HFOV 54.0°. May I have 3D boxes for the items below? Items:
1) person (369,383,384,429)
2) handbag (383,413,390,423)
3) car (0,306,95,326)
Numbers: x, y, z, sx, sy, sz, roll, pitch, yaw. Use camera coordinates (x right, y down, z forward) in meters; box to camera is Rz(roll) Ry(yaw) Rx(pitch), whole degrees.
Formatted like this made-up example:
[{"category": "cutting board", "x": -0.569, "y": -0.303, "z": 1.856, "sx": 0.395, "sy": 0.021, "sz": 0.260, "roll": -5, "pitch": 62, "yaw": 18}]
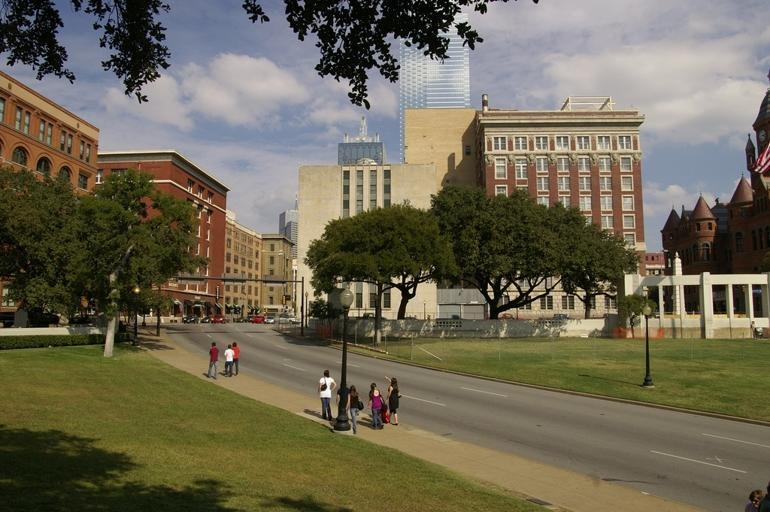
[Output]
[{"category": "person", "x": -0.523, "y": 9.528, "z": 48.355, "sx": 0.853, "sy": 2.887, "sz": 0.800, "roll": 3, "pitch": 9, "yaw": -1}, {"category": "handbag", "x": 0.100, "y": 10.460, "z": 49.050, "sx": 0.281, "sy": 0.845, "sz": 0.800, "roll": 5, "pitch": 9, "yaw": 15}, {"category": "car", "x": -33.783, "y": 6.000, "z": 75.281, "sx": 0.878, "sy": 1.240, "sz": 8.612, "roll": -13, "pitch": -12, "yaw": 37}]
